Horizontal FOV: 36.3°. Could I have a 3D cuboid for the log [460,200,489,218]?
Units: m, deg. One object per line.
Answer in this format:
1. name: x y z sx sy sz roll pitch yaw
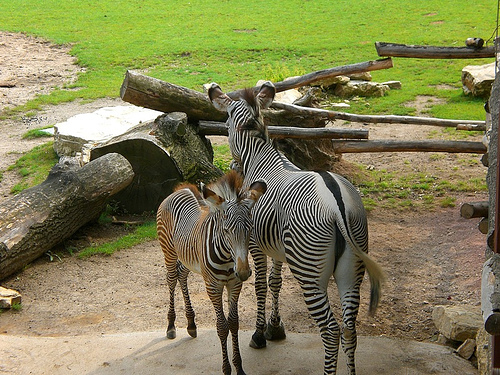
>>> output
1. log: 3.791 0.369 12.800 0.456 0.281 0.265 -4 27 -4
